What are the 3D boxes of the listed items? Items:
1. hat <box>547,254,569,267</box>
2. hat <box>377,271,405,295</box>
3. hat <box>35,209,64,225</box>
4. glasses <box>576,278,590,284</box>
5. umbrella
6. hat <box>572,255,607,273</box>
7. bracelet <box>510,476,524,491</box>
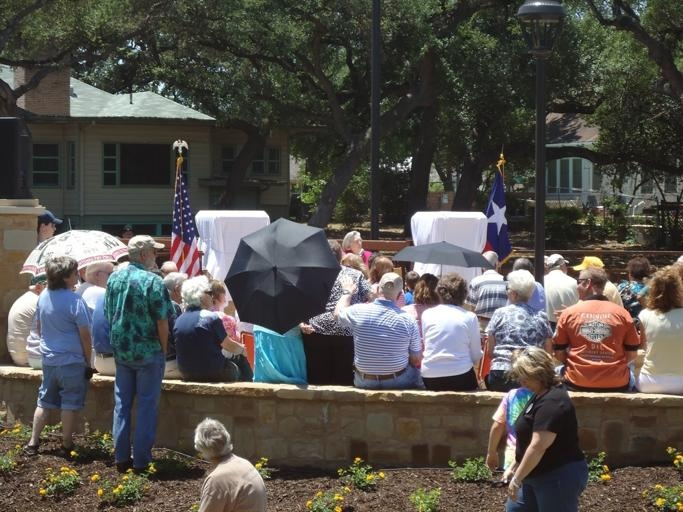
[{"bbox_3d":[4.540,0.104,29.436,0.343,0.223,0.252,-5,10,-17],"label":"hat"},{"bbox_3d":[0.997,0.552,26.744,0.440,0.353,0.748,14,-3,4],"label":"hat"},{"bbox_3d":[-6.189,-0.716,29.746,0.720,0.415,0.456,2,6,-15],"label":"hat"},{"bbox_3d":[4.734,0.506,27.191,0.106,0.094,0.525,1,0,-8],"label":"glasses"},{"bbox_3d":[-0.951,0.418,27.568,1.956,2.114,1.404,-12,-5,9],"label":"umbrella"},{"bbox_3d":[5.167,0.177,28.926,0.753,0.339,0.515,-3,-3,4],"label":"hat"},{"bbox_3d":[3.097,4.033,24.591,0.167,0.233,0.198,-5,12,3],"label":"bracelet"}]
